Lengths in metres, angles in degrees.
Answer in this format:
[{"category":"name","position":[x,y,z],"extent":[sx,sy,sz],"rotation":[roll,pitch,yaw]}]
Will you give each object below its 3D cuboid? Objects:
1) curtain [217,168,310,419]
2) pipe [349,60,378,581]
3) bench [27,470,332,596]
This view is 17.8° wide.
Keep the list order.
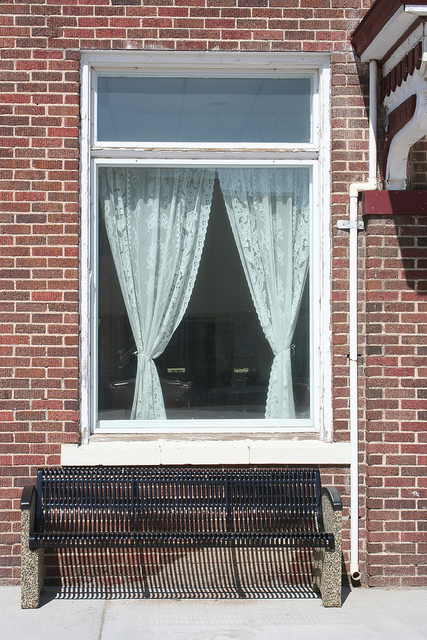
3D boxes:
[{"category":"curtain","position":[0.440,-0.056,9.548],"extent":[0.598,2.312,0.201],"rotation":[3,-32,-5]},{"category":"pipe","position":[1.049,-0.017,9.520],"extent":[0.193,3.654,0.246],"rotation":[0,0,4]},{"category":"bench","position":[-0.183,1.421,9.078],"extent":[1.965,0.925,0.758],"rotation":[0,1,-2]}]
